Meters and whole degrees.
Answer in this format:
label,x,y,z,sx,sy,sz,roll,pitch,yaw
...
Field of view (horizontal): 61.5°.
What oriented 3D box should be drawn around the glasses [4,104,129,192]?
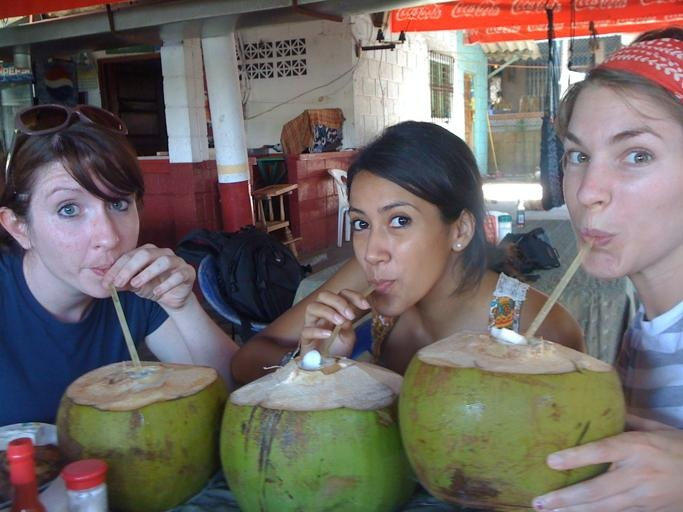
label,x,y,z,sx,sy,sz,roll,pitch,yaw
glasses,-0.739,-0.289,1.529,0.319,0.224,0.153,-5,8,-18
